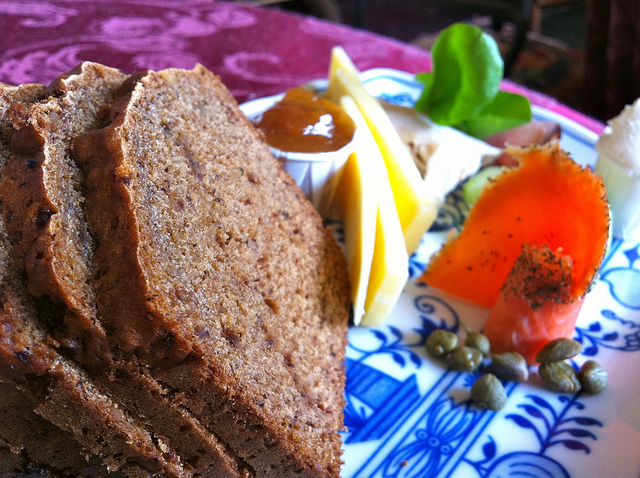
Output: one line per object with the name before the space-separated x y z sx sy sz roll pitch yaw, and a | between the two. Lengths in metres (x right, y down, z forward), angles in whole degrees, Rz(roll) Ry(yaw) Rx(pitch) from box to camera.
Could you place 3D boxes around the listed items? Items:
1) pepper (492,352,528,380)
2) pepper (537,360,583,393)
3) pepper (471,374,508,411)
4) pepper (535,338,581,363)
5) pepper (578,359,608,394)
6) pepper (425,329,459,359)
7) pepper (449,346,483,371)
pepper | 0.631 0.422 2.521 0.076 0.064 0.102 -33 58 -27
pepper | 0.795 0.452 2.494 0.087 0.039 0.121 -32 58 -25
pepper | 0.549 0.501 2.457 0.101 0.114 0.066 3 14 8
pepper | 0.792 0.369 2.530 0.127 0.092 0.072 6 33 -10
pepper | 0.892 0.456 2.507 0.051 0.100 0.093 -19 29 23
pepper | 0.422 0.350 2.628 0.105 0.083 0.119 17 33 7
pepper | 0.495 0.404 2.568 0.108 0.061 0.069 13 32 1
